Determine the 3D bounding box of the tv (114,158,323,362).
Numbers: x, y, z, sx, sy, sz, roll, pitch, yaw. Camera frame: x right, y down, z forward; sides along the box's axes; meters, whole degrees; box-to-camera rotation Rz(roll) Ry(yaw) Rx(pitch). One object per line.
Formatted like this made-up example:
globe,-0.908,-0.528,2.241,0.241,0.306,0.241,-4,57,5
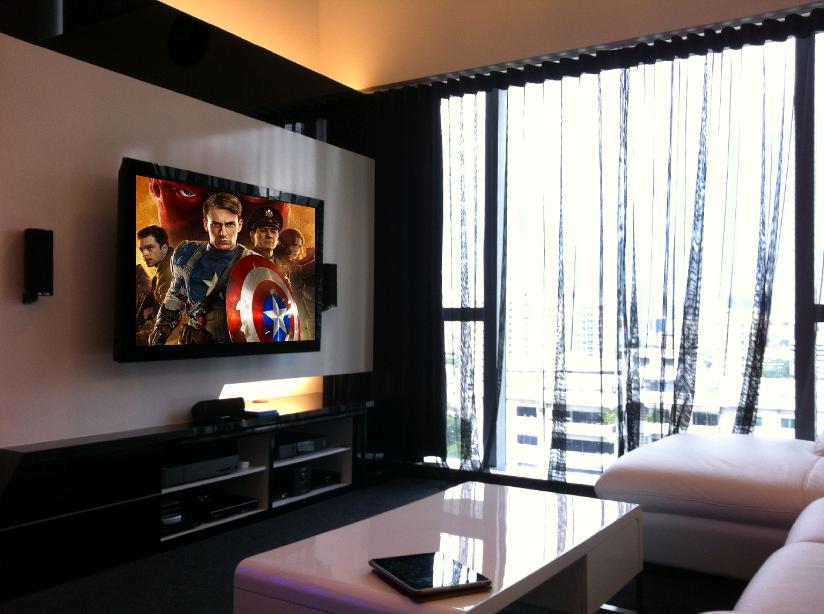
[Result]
tv,-1.214,-0.258,4.353,0.224,1.050,1.486,-6,-1,40

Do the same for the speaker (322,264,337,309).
speaker,-0.644,-0.154,5.266,0.098,0.325,0.271,-6,-1,17

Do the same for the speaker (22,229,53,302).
speaker,-2.019,-0.218,3.552,0.170,0.295,0.098,-6,-1,8
